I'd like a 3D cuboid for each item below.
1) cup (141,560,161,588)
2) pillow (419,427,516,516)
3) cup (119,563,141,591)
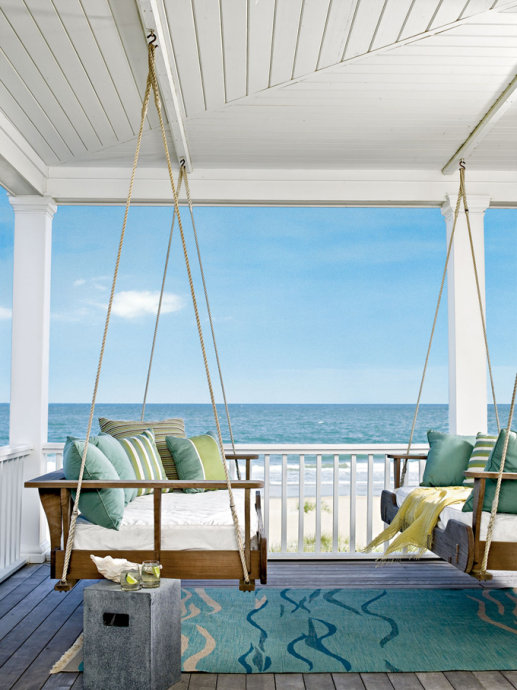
[{"bbox_3d":[-0.378,0.794,2.053,0.075,0.080,0.074,2,-6,0],"label":"cup"},{"bbox_3d":[1.051,0.649,2.980,0.503,0.394,0.242,-13,3,0],"label":"pillow"},{"bbox_3d":[-0.444,0.806,2.047,0.062,0.062,0.063,1,-3,0],"label":"cup"}]
